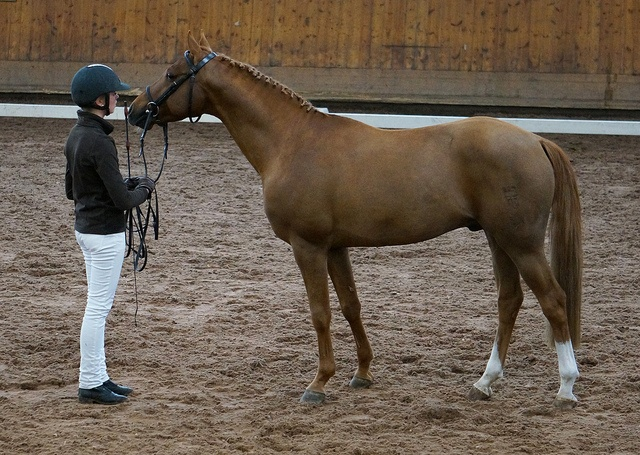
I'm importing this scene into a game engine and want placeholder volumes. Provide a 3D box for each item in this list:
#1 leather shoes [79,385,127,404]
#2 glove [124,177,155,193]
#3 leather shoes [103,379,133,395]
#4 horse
[{"bbox_3d":[-2.407,1.836,16.070,0.536,0.225,0.188,0,-2,-2],"label":"leather shoes"},{"bbox_3d":[-2.010,-0.471,16.117,0.243,0.094,0.182,4,5,20],"label":"glove"},{"bbox_3d":[-2.236,1.766,16.117,0.380,0.145,0.128,9,6,1],"label":"leather shoes"},{"bbox_3d":[0.497,0.038,17.475,5.089,3.942,1.512,0,7,12],"label":"horse"}]
